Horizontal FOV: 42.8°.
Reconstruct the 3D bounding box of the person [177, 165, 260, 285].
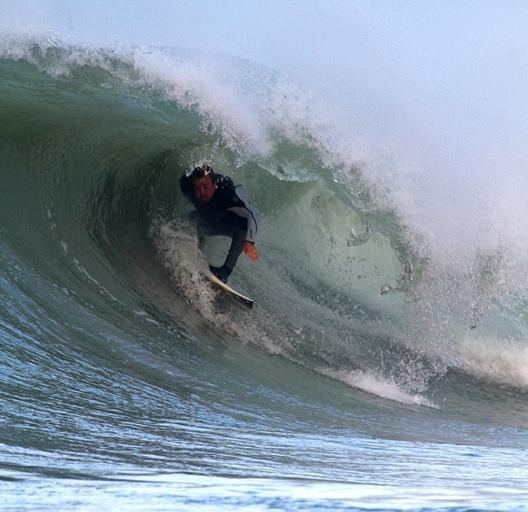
[{"bbox_3d":[-0.632,-0.344,8.498,1.017,1.169,0.796,23,57,17],"label":"person"}]
